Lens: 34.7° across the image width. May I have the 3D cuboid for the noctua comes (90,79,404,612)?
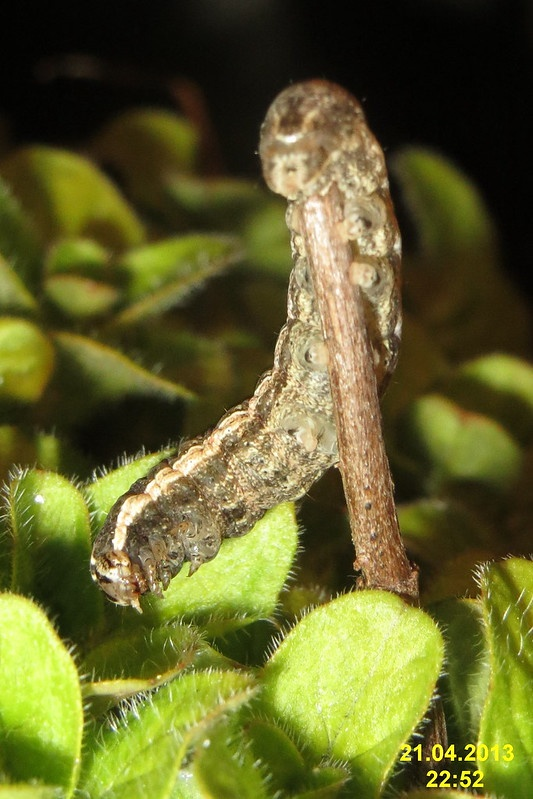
[{"bbox_3d":[0.007,-0.065,0.760,0.276,0.393,0.249,8,23,31],"label":"noctua comes"}]
